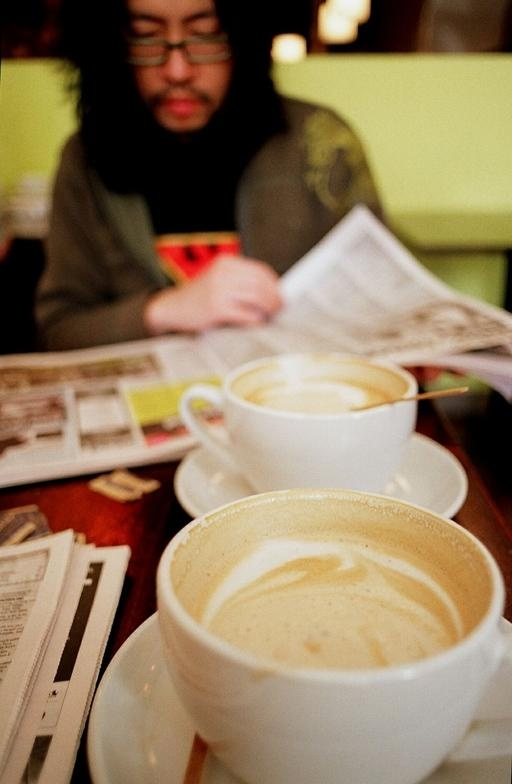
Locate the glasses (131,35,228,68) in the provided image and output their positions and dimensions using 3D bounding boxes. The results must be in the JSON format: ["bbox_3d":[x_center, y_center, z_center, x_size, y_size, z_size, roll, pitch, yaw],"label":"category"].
[{"bbox_3d":[-0.114,-0.503,0.950,0.143,0.038,0.034,-7,33,-7],"label":"glasses"}]
